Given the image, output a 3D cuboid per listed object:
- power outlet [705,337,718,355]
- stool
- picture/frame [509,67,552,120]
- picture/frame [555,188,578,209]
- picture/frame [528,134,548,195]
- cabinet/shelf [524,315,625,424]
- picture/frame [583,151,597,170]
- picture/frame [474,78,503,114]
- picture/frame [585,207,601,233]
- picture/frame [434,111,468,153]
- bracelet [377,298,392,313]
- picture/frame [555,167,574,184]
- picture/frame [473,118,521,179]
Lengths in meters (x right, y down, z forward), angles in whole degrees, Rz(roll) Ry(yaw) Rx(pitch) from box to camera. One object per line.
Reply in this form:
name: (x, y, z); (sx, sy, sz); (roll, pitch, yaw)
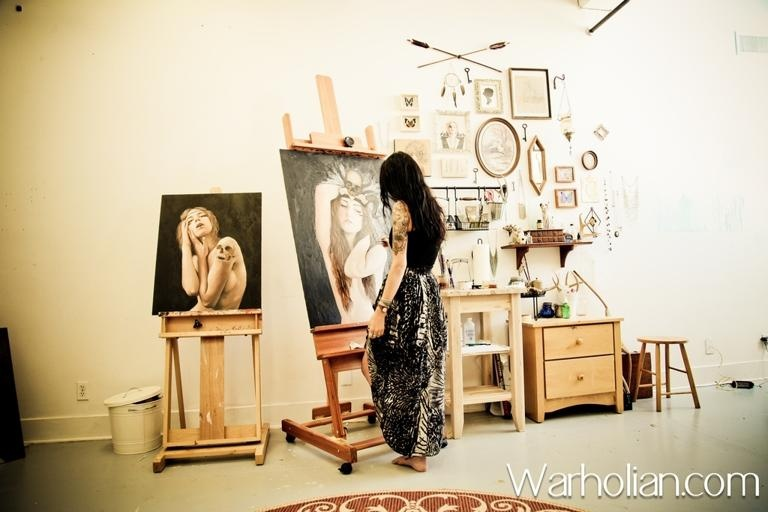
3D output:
power outlet: (3.685, 1.019, 6.516); (0.155, 0.213, 0.042); (-11, -6, -18)
stool: (2.879, 1.199, 5.981); (0.673, 0.723, 0.679); (-2, 1, 38)
picture/frame: (1.572, -1.746, 6.282); (0.537, 0.635, 0.045); (-3, -2, -18)
picture/frame: (1.979, -0.618, 6.307); (0.221, 0.195, 0.029); (-1, 0, -6)
picture/frame: (1.672, -0.969, 6.284); (0.221, 0.615, 0.089); (-3, 1, -31)
cabinet/shelf: (1.905, 1.138, 6.044); (1.014, 0.962, 0.689); (-3, 0, -15)
picture/frame: (2.256, -1.032, 6.371); (0.185, 0.188, 0.042); (-34, 15, -23)
picture/frame: (1.114, -1.705, 6.226); (0.375, 0.405, 0.032); (-1, -2, -14)
picture/frame: (2.305, -0.400, 6.358); (0.163, 0.266, 0.059); (-3, 1, -26)
picture/frame: (0.697, -1.292, 6.134); (0.440, 0.457, 0.040); (0, -3, -15)
bracelet: (0.006, 0.410, 4.764); (0.095, 0.097, 0.104); (2, -3, 2)
picture/frame: (1.961, -0.872, 6.309); (0.171, 0.151, 0.022); (-1, -3, -6)
picture/frame: (1.199, -1.130, 6.220); (0.609, 0.744, 0.081); (-3, -3, -26)
